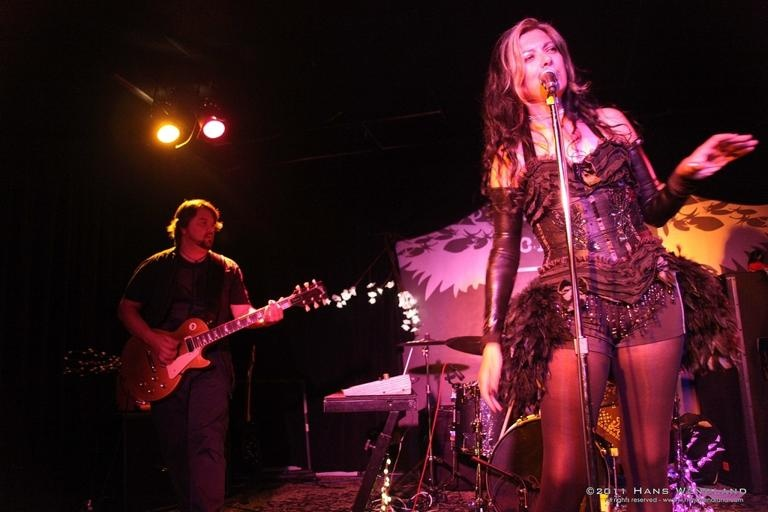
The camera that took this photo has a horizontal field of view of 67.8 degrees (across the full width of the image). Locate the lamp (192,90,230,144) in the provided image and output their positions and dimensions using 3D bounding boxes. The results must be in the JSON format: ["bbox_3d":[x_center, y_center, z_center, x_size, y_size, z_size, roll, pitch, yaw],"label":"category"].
[{"bbox_3d":[-1.977,-1.574,6.447,0.365,0.366,0.533,-1,-17,-4],"label":"lamp"}]

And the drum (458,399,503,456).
[{"bbox_3d":[0.919,1.658,5.471,0.428,0.484,0.439,-12,-21,35],"label":"drum"}]

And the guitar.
[{"bbox_3d":[-1.619,0.821,4.775,1.093,0.774,0.456,4,-18,-18],"label":"guitar"}]

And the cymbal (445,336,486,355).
[{"bbox_3d":[0.893,0.961,6.252,0.557,0.140,0.540,1,-10,-22],"label":"cymbal"}]

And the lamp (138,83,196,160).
[{"bbox_3d":[-2.400,-1.522,6.390,0.662,0.494,0.622,3,-18,-18],"label":"lamp"}]
